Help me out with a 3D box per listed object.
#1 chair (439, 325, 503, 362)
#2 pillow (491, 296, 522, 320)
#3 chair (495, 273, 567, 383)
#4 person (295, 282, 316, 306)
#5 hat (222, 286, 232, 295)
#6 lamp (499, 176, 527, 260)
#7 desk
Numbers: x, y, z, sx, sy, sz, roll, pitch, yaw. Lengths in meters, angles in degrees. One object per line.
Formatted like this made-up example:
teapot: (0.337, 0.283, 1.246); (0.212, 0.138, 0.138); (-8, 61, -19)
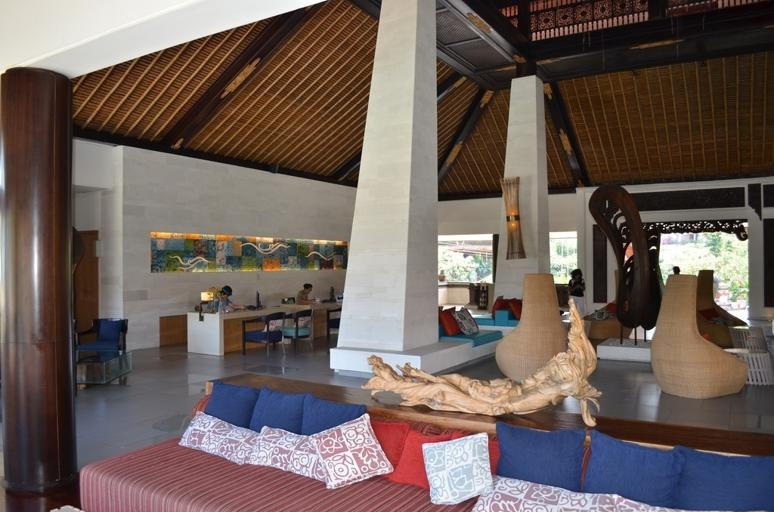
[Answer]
chair: (1.535, 1.625, 9.631); (0.610, 0.429, 1.883); (-1, -1, 33)
pillow: (2.682, 1.155, 11.373); (0.490, 0.391, 0.531); (-1, -5, 25)
chair: (2.153, 1.069, 7.617); (1.005, 1.322, 0.523); (-1, -1, 16)
person: (-2.168, 1.001, 13.407); (0.588, 0.781, 0.569); (0, 3, -8)
hat: (-3.555, 0.733, 11.245); (0.096, 0.247, 0.216); (-19, -50, 12)
lamp: (2.950, -0.864, 11.929); (0.508, 1.548, 0.534); (-1, -1, 17)
desk: (-2.391, 1.602, 11.475); (3.653, 0.904, 1.667); (0, -1, -38)
